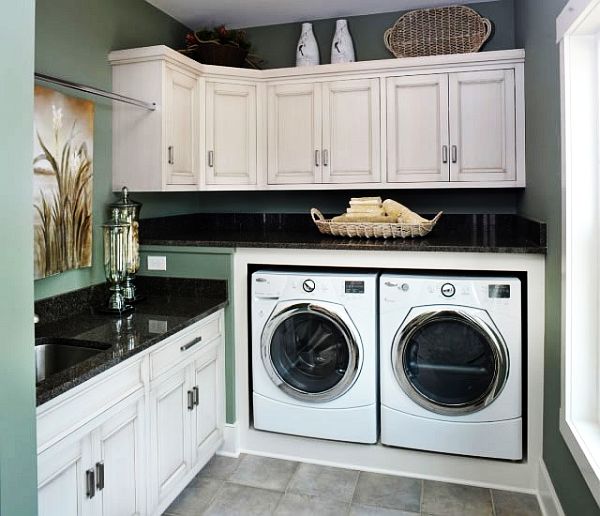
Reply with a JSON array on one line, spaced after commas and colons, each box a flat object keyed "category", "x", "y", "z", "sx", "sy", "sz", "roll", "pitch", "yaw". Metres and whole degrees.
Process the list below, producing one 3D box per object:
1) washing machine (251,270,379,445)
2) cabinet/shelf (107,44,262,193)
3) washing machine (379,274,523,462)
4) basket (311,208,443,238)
[{"category": "washing machine", "x": 0.128, "y": 0.492, "z": 3.071, "sx": 0.831, "sy": 1.251, "sz": 0.775, "roll": 0, "pitch": 0, "yaw": 15}, {"category": "cabinet/shelf", "x": -0.610, "y": -0.753, "z": 3.106, "sx": 0.662, "sy": 0.980, "sz": 0.948, "roll": 0, "pitch": 3, "yaw": 8}, {"category": "washing machine", "x": 0.710, "y": 0.485, "z": 2.948, "sx": 0.826, "sy": 1.300, "sz": 0.808, "roll": 0, "pitch": -2, "yaw": 15}, {"category": "basket", "x": 0.417, "y": -0.170, "z": 2.948, "sx": 0.671, "sy": 0.115, "sz": 0.168, "roll": 2, "pitch": 11, "yaw": 11}]
